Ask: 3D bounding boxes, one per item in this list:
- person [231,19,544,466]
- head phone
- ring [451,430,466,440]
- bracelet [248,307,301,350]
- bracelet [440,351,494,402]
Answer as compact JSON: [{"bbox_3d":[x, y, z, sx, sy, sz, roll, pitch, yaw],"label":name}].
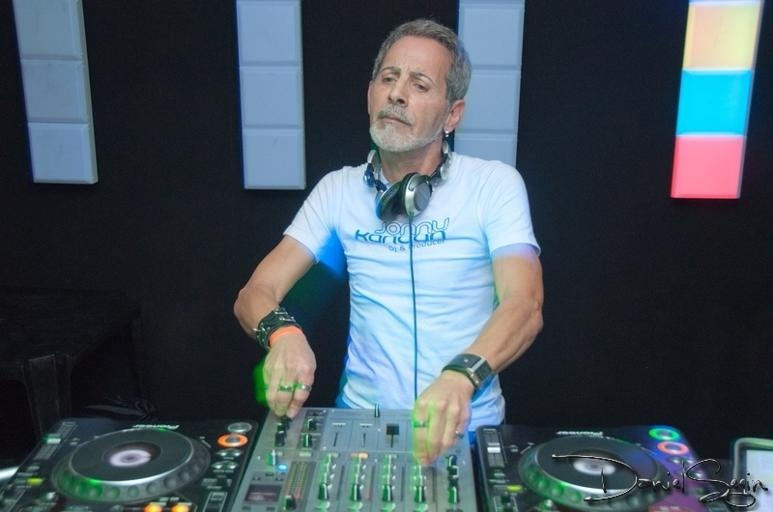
[{"bbox_3d":[0.028,-0.126,2.157,0.983,1.410,0.881,7,11,25],"label":"person"},{"bbox_3d":[0.067,-0.255,2.249,0.306,0.292,0.264,3,9,4],"label":"head phone"},{"bbox_3d":[0.192,0.487,1.747,0.035,0.024,0.038,9,-4,1],"label":"ring"},{"bbox_3d":[-0.372,0.241,2.127,0.143,0.115,0.080,7,-26,45],"label":"bracelet"},{"bbox_3d":[0.224,0.359,1.837,0.133,0.129,0.090,-3,5,-45],"label":"bracelet"}]
